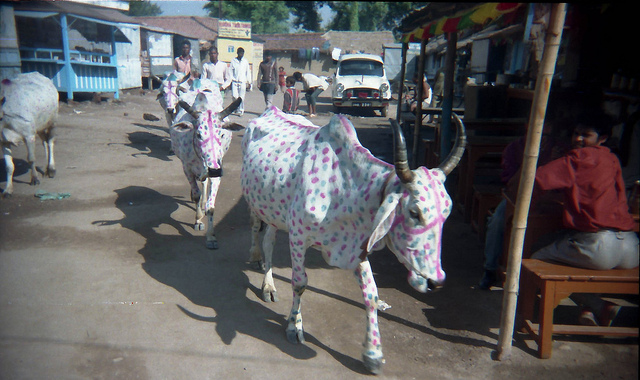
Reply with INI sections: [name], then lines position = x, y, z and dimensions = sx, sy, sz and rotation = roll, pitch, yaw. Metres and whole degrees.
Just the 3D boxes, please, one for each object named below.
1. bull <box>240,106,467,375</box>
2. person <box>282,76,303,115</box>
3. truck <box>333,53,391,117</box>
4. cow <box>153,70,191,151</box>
[bull]
position = 0.279, 0.579, 8.251
dimensions = 3.202, 3.348, 1.172
rotation = 9, 17, 29
[person]
position = -1.125, -3.548, 21.384
dimensions = 0.876, 1.446, 0.937
rotation = 9, 14, 12
[truck]
position = 1.655, -3.482, 22.457
dimensions = 2.073, 2.035, 4.427
rotation = 0, -3, 2
[cow]
position = -3.660, -2.144, 14.874
dimensions = 0.936, 1.971, 2.891
rotation = 0, 14, -6
